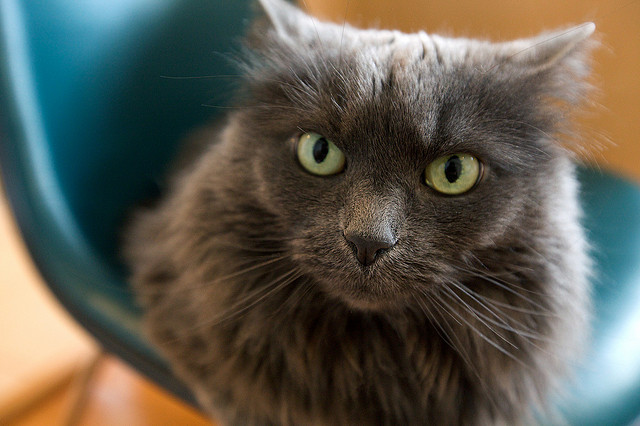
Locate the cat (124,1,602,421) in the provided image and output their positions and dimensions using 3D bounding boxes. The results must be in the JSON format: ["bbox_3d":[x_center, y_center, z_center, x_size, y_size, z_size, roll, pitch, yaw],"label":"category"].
[{"bbox_3d":[0.102,0.000,1.650,1.032,0.272,0.977,11,-78,-1],"label":"cat"}]
